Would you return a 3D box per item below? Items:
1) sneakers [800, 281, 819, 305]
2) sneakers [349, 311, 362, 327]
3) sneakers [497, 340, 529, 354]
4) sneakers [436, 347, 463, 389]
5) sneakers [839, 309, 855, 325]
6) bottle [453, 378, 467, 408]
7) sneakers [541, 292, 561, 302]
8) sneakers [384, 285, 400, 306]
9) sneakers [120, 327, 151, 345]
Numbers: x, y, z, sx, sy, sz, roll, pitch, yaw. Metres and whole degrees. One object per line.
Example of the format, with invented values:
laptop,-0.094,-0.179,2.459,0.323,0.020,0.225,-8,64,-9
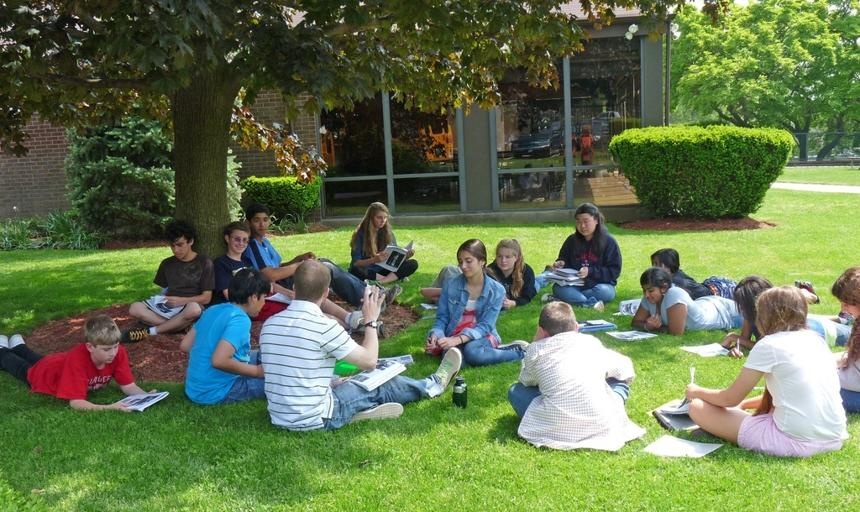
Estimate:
sneakers,5.304,0.534,10.134,0.262,0.100,0.253,12,39,-56
sneakers,-1.074,0.939,10.514,0.182,0.253,0.306,-1,8,-7
sneakers,1.149,1.237,9.856,0.480,0.181,0.173,-7,-10,-4
sneakers,0.255,1.379,9.059,0.244,0.612,0.226,-3,-39,40
sneakers,5.457,0.812,9.473,0.152,0.210,0.266,5,-5,-2
bottle,0.375,1.636,8.723,0.196,0.357,0.161,-1,8,-6
sneakers,1.951,0.696,11.852,0.459,0.189,0.163,-2,1,33
sneakers,-0.597,0.654,11.739,0.214,0.286,0.617,0,7,0
sneakers,-4.208,1.162,10.420,0.169,0.131,0.403,-12,-1,37
